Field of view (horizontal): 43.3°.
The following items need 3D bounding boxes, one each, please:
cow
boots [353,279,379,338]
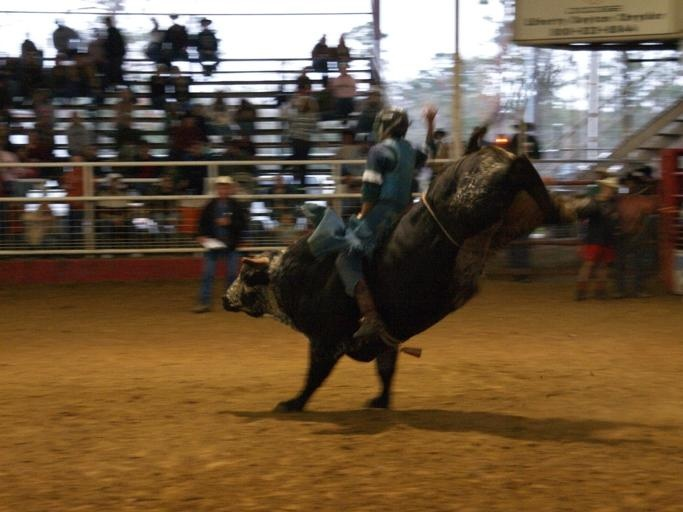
[{"bbox_3d":[0.436,0.093,6.904,2.730,2.570,0.659,3,7,22],"label":"cow"},{"bbox_3d":[0.189,0.416,6.755,0.188,0.438,0.190,1,6,-4],"label":"boots"}]
